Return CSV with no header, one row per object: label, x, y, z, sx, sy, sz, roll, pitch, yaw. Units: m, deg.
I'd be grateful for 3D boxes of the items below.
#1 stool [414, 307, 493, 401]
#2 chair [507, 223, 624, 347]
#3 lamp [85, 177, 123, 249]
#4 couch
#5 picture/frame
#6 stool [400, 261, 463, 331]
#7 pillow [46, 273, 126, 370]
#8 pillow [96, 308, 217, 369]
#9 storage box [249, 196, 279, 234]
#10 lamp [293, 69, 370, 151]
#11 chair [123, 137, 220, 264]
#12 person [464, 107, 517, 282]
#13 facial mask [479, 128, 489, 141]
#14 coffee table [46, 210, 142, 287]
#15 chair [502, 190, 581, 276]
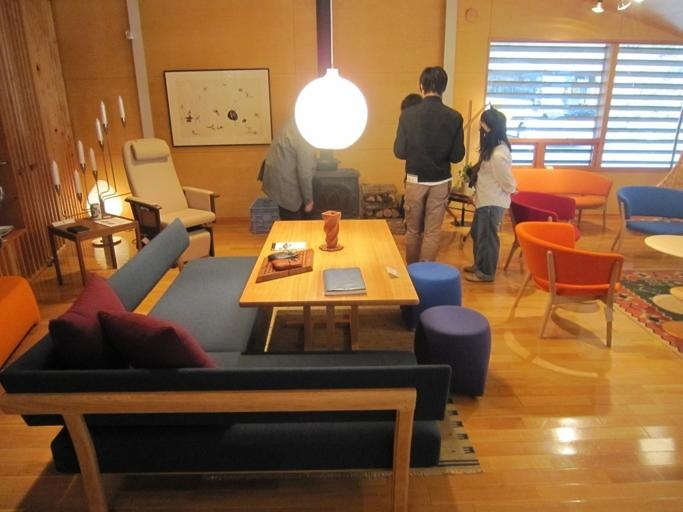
stool,0.826,0.685,4.101,0.580,0.522,0.553,-1,21,-4
chair,1.929,0.178,4.693,0.819,0.803,0.929,2,19,11
lamp,-3.325,-0.783,7.613,0.445,0.789,0.429,20,29,19
couch,-0.614,0.562,3.804,2.428,1.051,1.757,0,19,0
picture/frame,-1.669,-2.027,7.302,1.456,1.031,0.033,0,26,3
stool,0.720,0.300,4.653,0.513,0.474,0.507,-5,18,-5
pillow,-1.581,0.417,3.375,0.166,0.313,0.461,-4,23,-6
pillow,-1.058,0.486,3.058,0.413,0.193,0.426,20,-3,45
storage box,-1.026,-0.548,7.188,0.461,0.275,0.454,-1,11,-9
lamp,0.030,-0.878,3.326,0.490,0.553,0.446,3,19,6
chair,-1.945,-0.602,6.138,0.935,1.264,0.833,22,28,39
person,1.491,-0.582,5.388,0.412,1.706,0.298,4,20,12
facial mask,1.395,-1.191,5.320,0.035,0.085,0.137,-4,-25,-30
coffee table,-2.570,-0.041,5.746,0.670,0.615,0.679,10,22,34
chair,2.043,-0.241,5.907,0.847,0.920,0.914,5,14,33
